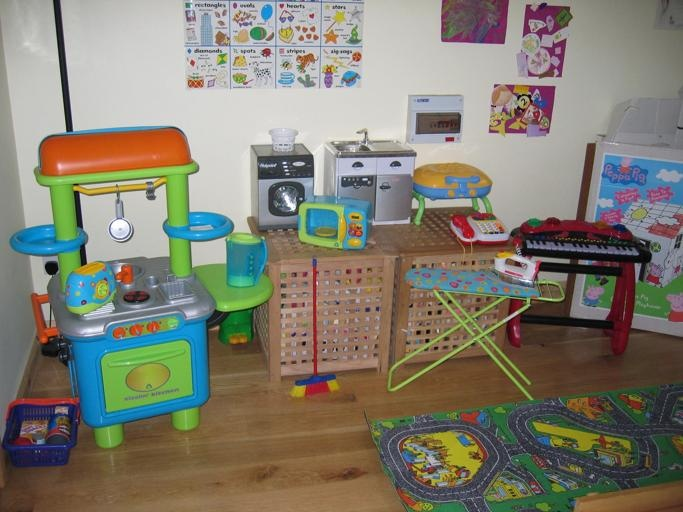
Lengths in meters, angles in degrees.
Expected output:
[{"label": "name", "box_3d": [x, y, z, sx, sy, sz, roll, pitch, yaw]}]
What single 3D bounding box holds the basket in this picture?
[{"label": "basket", "box_3d": [-1.534, 0.900, 2.810, 0.323, 0.242, 0.329, -6, 21, -17]}]
